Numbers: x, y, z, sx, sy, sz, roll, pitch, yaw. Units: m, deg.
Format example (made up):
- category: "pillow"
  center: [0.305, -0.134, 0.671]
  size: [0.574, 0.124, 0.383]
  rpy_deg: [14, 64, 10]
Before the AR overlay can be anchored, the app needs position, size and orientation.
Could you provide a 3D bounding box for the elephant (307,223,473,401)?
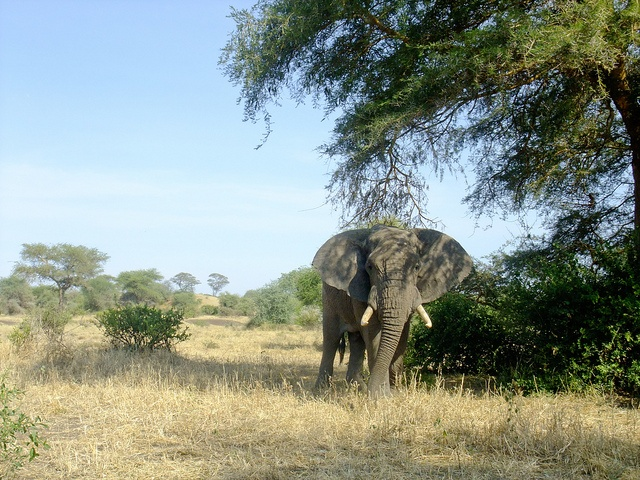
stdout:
- category: "elephant"
  center: [1.115, 1.662, 14.616]
  size: [2.854, 3.505, 3.844]
  rpy_deg: [3, -8, -14]
